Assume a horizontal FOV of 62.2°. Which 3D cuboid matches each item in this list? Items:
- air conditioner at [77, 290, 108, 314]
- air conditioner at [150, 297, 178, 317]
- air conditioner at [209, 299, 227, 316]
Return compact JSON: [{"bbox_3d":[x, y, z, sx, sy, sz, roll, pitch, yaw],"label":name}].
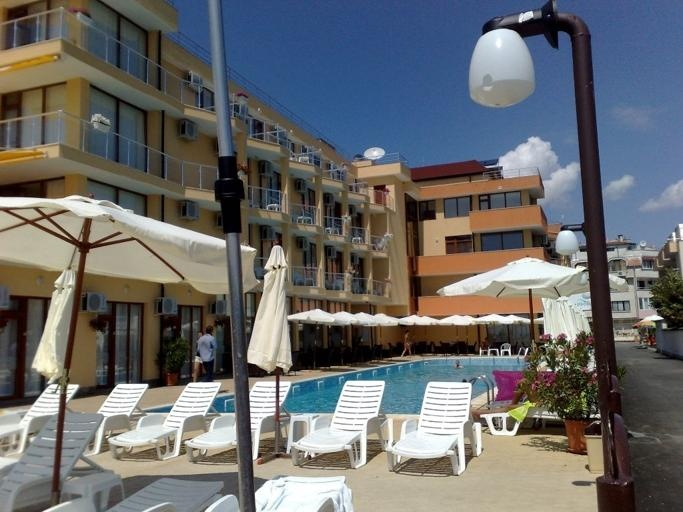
[{"bbox_3d":[-7.781,1.573,17.689,0.492,0.705,0.934,-4,-8,21],"label":"air conditioner"},{"bbox_3d":[-6.399,1.836,20.368,0.525,0.801,0.968,-7,-10,20],"label":"air conditioner"},{"bbox_3d":[-4.988,2.141,23.411,0.599,0.652,0.656,-2,-7,12],"label":"air conditioner"}]
